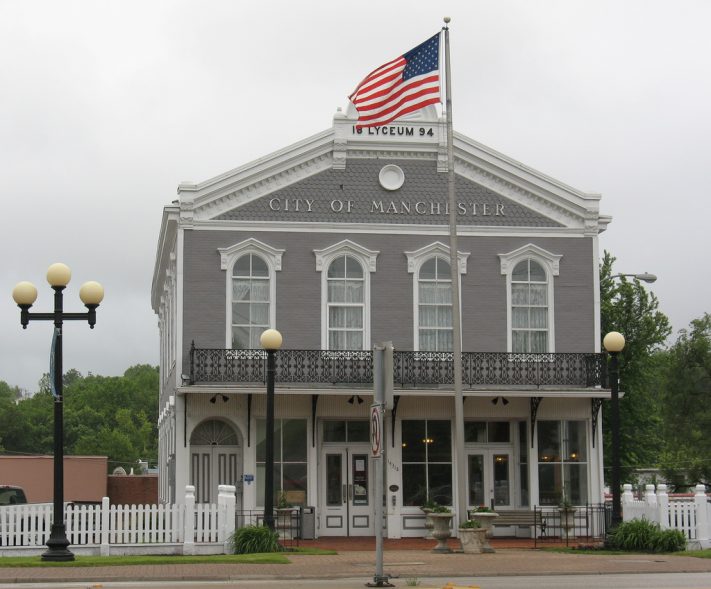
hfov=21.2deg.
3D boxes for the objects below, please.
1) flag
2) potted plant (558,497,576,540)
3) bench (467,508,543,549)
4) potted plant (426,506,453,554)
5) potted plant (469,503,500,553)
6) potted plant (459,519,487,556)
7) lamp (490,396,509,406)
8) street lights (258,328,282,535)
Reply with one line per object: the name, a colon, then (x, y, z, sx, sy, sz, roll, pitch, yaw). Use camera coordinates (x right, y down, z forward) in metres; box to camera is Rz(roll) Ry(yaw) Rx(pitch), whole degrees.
flag: (1.233, -5.927, 52.378, 2.461, 2.241, 0.504, -7, -15, 27)
potted plant: (6.031, 6.295, 53.854, 0.442, 1.321, 1.410, -1, -14, 7)
bench: (4.350, 6.365, 52.810, 1.814, 1.178, 1.335, -3, -13, 7)
potted plant: (2.311, 6.374, 51.243, 0.820, 0.979, 0.781, 1, -9, -8)
potted plant: (3.526, 6.253, 51.557, 0.966, 1.225, 0.994, 1, -10, -6)
potted plant: (3.079, 6.306, 49.886, 0.830, 0.764, 0.725, 1, -11, -4)
lamp: (4.164, 3.016, 54.646, 0.545, 0.182, 0.460, 0, -14, 2)
street lights: (-2.161, 3.551, 49.890, 0.612, 4.697, 0.805, 4, -11, -23)
